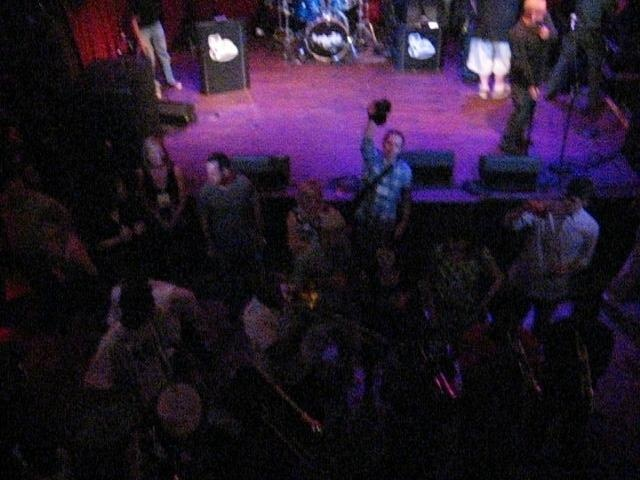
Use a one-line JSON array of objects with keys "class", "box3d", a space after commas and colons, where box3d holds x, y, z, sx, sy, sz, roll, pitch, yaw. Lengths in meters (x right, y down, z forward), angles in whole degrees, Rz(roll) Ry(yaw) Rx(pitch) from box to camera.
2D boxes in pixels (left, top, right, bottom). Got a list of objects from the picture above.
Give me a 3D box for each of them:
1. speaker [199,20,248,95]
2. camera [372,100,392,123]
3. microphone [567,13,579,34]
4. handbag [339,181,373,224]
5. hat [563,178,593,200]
[{"class": "speaker", "box3d": [-0.955, -1.904, 5.360, 0.460, 0.714, 0.385, -7, 45, -6]}, {"class": "camera", "box3d": [0.561, -1.165, 4.896, 0.146, 0.223, 0.077, -1, 21, -8]}, {"class": "microphone", "box3d": [2.299, -1.940, 4.865, 0.070, 0.153, 0.033, -5, 22, -6]}, {"class": "handbag", "box3d": [0.357, -0.360, 5.049, 0.119, 0.365, 0.252, 25, 10, 2]}, {"class": "hat", "box3d": [2.427, -0.468, 5.070, 0.218, 0.249, 0.199, 0, 36, 5]}]
